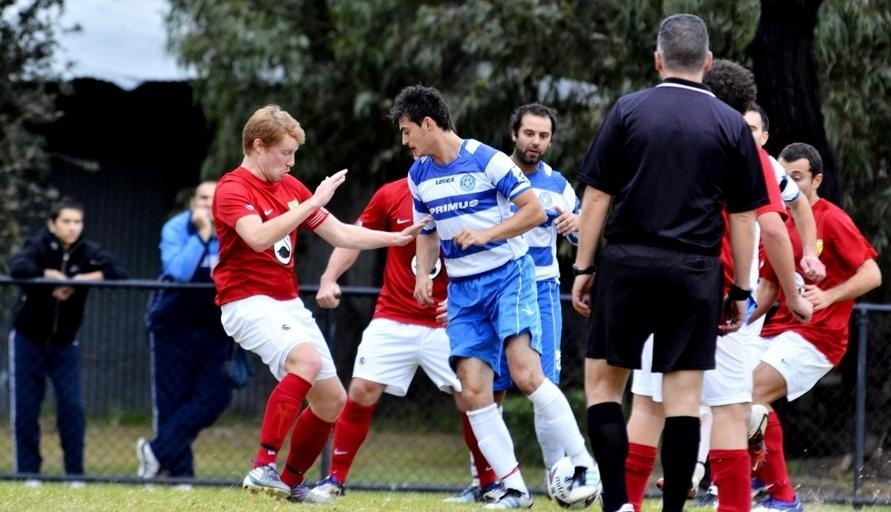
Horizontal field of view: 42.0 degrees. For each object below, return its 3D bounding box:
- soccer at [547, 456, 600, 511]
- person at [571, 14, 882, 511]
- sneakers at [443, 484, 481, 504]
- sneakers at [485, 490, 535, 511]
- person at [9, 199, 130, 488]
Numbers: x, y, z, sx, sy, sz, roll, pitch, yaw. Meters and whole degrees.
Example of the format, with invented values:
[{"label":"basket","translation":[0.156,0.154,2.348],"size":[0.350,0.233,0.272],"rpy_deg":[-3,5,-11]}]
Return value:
[{"label":"soccer","translation":[1.151,2.029,10.486],"size":[0.390,0.451,0.477],"rpy_deg":[10,3,-42]},{"label":"person","translation":[1.821,0.061,9.692],"size":[1.480,4.113,0.356],"rpy_deg":[2,0,5]},{"label":"sneakers","translation":[0.135,2.306,11.206],"size":[0.397,0.177,0.141],"rpy_deg":[2,-8,8]},{"label":"sneakers","translation":[0.576,2.213,10.475],"size":[0.430,0.204,0.172],"rpy_deg":[2,-5,-8]},{"label":"person","translation":[-3.928,0.835,11.738],"size":[0.957,2.885,0.484],"rpy_deg":[2,0,-18]}]
